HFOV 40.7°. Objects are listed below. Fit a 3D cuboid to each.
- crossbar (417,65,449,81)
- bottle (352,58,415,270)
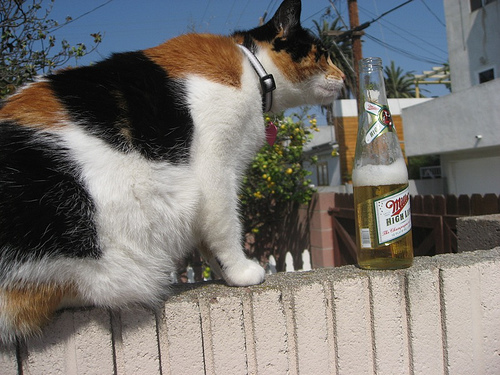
[{"bbox_3d":[4.879,-2.985,17.476,0.068,0.151,0.950,-9,-3,-25],"label":"crossbar"},{"bbox_3d":[0.576,-0.109,3.008,0.251,0.917,0.314,-4,6,14],"label":"bottle"}]
